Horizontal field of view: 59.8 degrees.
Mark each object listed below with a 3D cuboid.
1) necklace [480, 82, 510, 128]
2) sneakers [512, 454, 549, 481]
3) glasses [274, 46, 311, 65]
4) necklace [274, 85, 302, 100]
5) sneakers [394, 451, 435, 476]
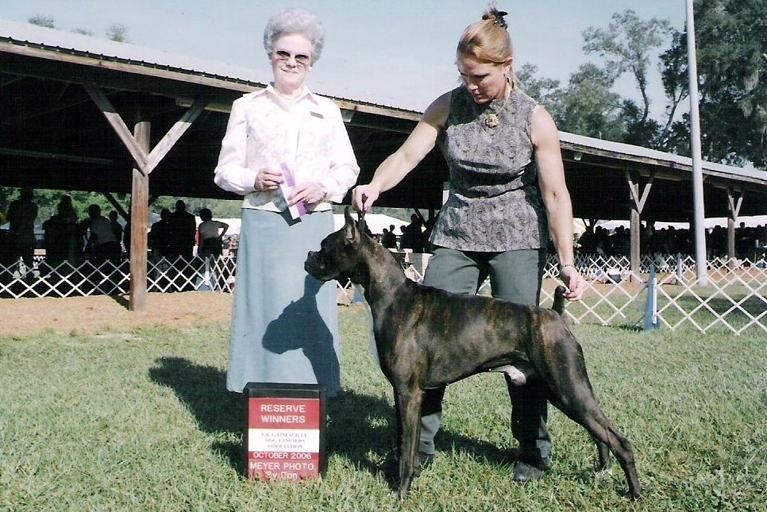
[{"bbox_3d":[0.908,-1.229,5.554,0.177,0.326,0.208,33,-21,-26],"label":"necklace"},{"bbox_3d":[1.235,1.818,5.680,0.240,0.212,0.087,6,3,-5],"label":"sneakers"},{"bbox_3d":[-0.782,-1.700,5.717,0.284,0.113,0.039,-1,12,-8],"label":"glasses"},{"bbox_3d":[-0.831,-1.423,5.771,0.152,0.120,0.158,-2,8,-2],"label":"necklace"},{"bbox_3d":[0.234,1.720,5.540,0.249,0.126,0.340,-2,5,-1],"label":"sneakers"}]
